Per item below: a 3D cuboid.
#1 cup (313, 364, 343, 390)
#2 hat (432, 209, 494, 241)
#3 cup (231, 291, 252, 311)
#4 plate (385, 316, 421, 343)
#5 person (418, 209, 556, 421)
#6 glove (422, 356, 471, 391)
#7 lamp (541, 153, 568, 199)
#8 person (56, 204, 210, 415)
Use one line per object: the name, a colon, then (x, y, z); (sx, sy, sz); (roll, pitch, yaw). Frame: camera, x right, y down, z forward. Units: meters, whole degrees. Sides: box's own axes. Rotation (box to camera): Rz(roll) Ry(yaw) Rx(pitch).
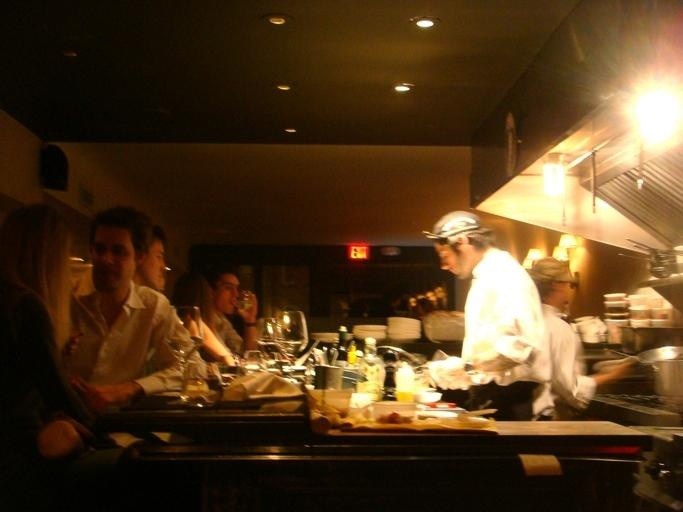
cup: (-0.062, 0.419, 2.115); (0.100, 0.101, 0.104); (2, 1, 0)
hat: (0.597, -0.159, 3.056); (0.239, 0.105, 0.159); (3, -8, -2)
cup: (-0.727, 0.329, 4.309); (0.122, 0.115, 0.117); (1, 2, 0)
plate: (0.448, 0.524, 4.184); (0.255, 0.174, 0.153); (-1, -10, -2)
person: (0.696, 0.254, 2.831); (0.540, 1.026, 0.513); (-5, -11, 17)
glove: (0.464, 0.514, 2.627); (0.249, 0.141, 0.176); (-1, 18, 18)
lamp: (1.099, -0.411, 3.040); (0.109, 0.171, 0.241); (-5, -11, 19)
person: (-1.208, 0.304, 3.130); (0.948, 1.080, 0.724); (2, -4, -1)
